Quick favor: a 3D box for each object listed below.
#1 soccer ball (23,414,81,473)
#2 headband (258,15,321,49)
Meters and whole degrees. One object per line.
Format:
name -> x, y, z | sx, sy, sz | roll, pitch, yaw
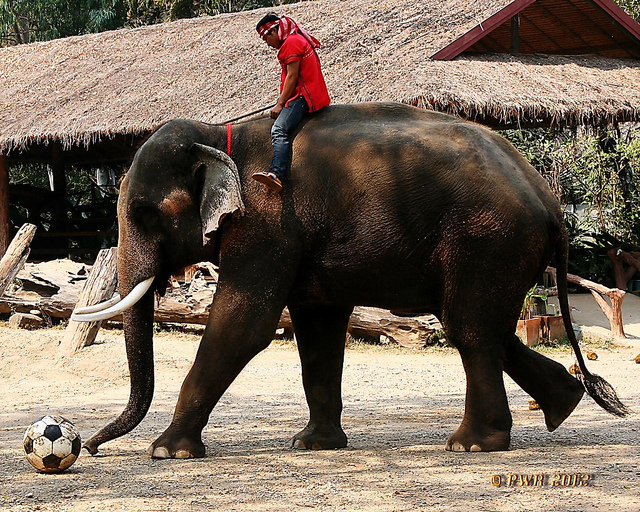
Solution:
soccer ball -> -1.819, 1.282, 6.815 | 0.423, 0.405, 0.380 | 3, -16, -12
headband -> -0.234, -1.778, 7.939 | 0.435, 0.196, 0.309 | 15, 17, 22
